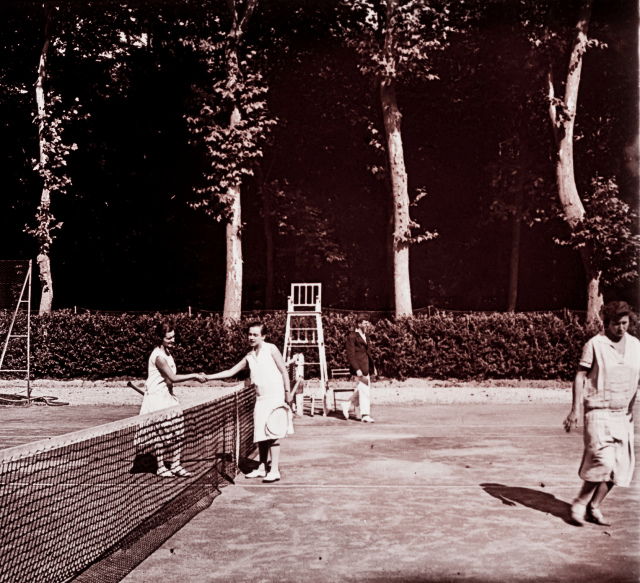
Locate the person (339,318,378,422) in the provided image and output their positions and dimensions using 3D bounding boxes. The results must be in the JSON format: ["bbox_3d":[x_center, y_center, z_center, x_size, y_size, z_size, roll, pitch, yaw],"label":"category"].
[{"bbox_3d":[0.842,1.629,18.573,0.673,2.192,0.633,0,3,-16],"label":"person"}]

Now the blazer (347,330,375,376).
[{"bbox_3d":[0.849,1.301,18.670,0.555,1.007,1.141,1,6,3],"label":"blazer"}]

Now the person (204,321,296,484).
[{"bbox_3d":[-1.032,1.659,13.416,1.283,2.363,0.744,-3,-4,9],"label":"person"}]

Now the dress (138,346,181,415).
[{"bbox_3d":[-2.399,1.442,13.809,0.580,1.198,0.871,-4,-11,17],"label":"dress"}]
